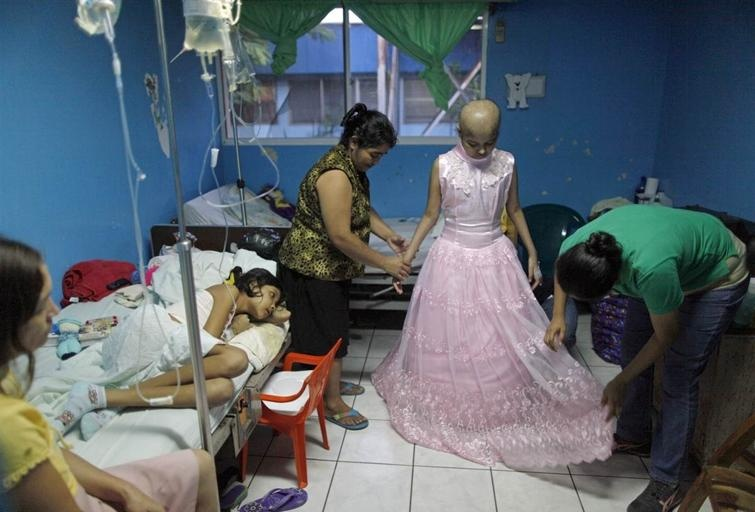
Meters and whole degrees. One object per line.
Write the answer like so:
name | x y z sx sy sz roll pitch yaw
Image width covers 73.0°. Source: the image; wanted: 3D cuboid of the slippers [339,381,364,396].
slippers | -0.164 0.818 3.185 0.164 0.043 0.062 3 20 6

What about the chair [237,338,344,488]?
chair | -0.458 0.767 2.596 0.427 0.633 0.464 8 18 21

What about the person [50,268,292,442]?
person | -0.997 0.336 2.537 1.081 0.356 0.793 -10 24 -17

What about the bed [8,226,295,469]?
bed | -0.970 0.441 2.340 1.009 0.354 0.732 -1 47 -16
